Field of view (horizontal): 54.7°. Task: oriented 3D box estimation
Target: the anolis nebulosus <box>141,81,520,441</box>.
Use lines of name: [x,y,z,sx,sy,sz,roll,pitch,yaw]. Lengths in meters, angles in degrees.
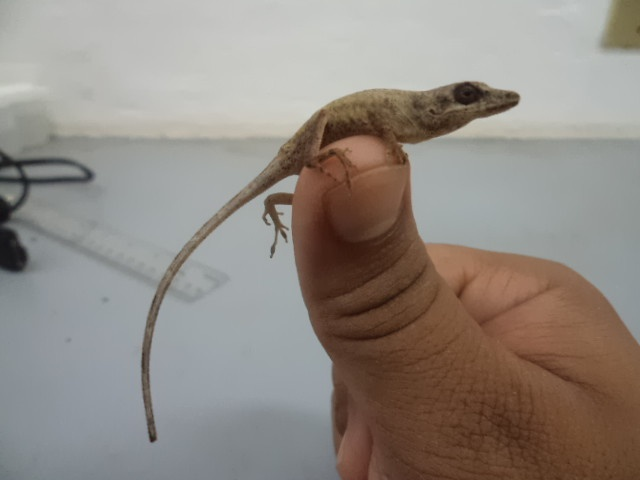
anolis nebulosus: [0.053,-0.159,1.864,1.330,0.518,0.446,-15,46,-4]
